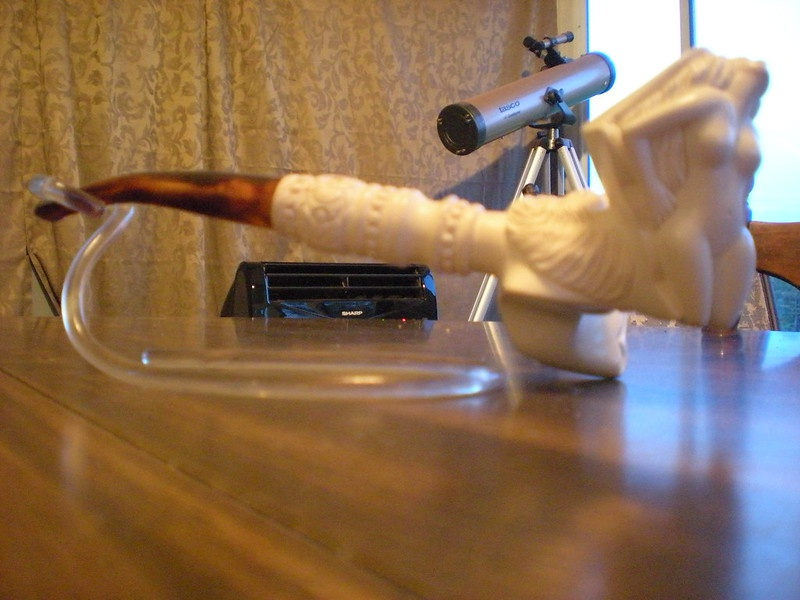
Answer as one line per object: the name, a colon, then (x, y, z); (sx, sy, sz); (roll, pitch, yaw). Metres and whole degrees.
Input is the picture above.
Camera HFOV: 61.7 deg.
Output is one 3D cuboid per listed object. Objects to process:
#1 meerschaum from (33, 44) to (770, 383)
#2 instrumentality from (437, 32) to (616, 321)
meerschaum: (0.036, -0.069, 0.578); (0.611, 0.352, 0.133); (6, 4, 13)
instrumentality: (0.363, -0.361, 1.810); (0.503, 0.695, 0.330); (-22, 33, -19)
